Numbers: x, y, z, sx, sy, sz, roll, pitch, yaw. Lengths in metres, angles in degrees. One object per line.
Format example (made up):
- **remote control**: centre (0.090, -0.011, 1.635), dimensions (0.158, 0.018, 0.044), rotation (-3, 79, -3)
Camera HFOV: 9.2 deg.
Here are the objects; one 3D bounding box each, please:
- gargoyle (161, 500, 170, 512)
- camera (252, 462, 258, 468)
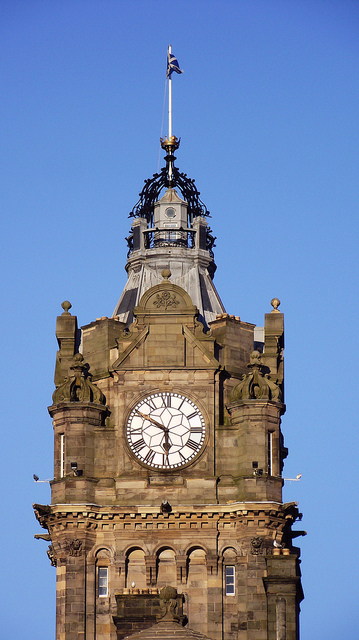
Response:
- **gargoyle**: centre (-0.705, 8.286, 100.495), dimensions (0.332, 0.437, 0.705), rotation (-9, -36, 11)
- **camera**: centre (3.434, 6.486, 100.805), dimensions (0.218, 0.282, 0.177), rotation (-1, -1, 5)
